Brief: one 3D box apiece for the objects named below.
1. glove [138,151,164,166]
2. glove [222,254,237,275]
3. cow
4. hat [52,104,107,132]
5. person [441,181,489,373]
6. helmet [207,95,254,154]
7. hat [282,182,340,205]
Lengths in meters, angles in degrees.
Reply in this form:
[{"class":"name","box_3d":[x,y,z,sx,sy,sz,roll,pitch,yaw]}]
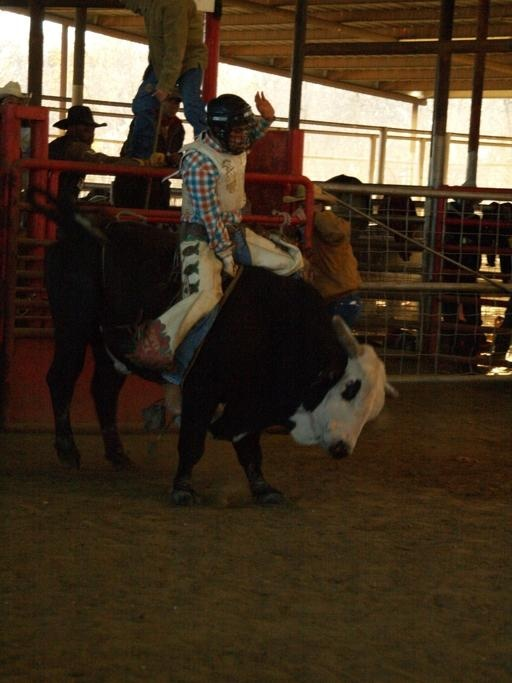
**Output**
[{"class":"glove","box_3d":[-0.737,-1.327,5.234,0.122,0.047,0.145,-8,11,8]},{"class":"glove","box_3d":[-0.138,-0.388,3.649,0.049,0.098,0.087,-21,23,18]},{"class":"cow","box_3d":[-0.245,0.031,4.077,0.778,1.331,2.668,-16,29,-40]},{"class":"hat","box_3d":[-1.602,-1.967,6.501,0.381,0.142,0.420,-1,2,-15]},{"class":"person","box_3d":[2.302,-0.642,8.072,0.503,1.931,0.738,3,2,16]},{"class":"helmet","box_3d":[-0.130,-1.079,3.561,0.235,0.280,0.153,2,2,-4]},{"class":"hat","box_3d":[0.386,-1.081,5.258,0.279,0.085,0.276,0,-6,4]}]
